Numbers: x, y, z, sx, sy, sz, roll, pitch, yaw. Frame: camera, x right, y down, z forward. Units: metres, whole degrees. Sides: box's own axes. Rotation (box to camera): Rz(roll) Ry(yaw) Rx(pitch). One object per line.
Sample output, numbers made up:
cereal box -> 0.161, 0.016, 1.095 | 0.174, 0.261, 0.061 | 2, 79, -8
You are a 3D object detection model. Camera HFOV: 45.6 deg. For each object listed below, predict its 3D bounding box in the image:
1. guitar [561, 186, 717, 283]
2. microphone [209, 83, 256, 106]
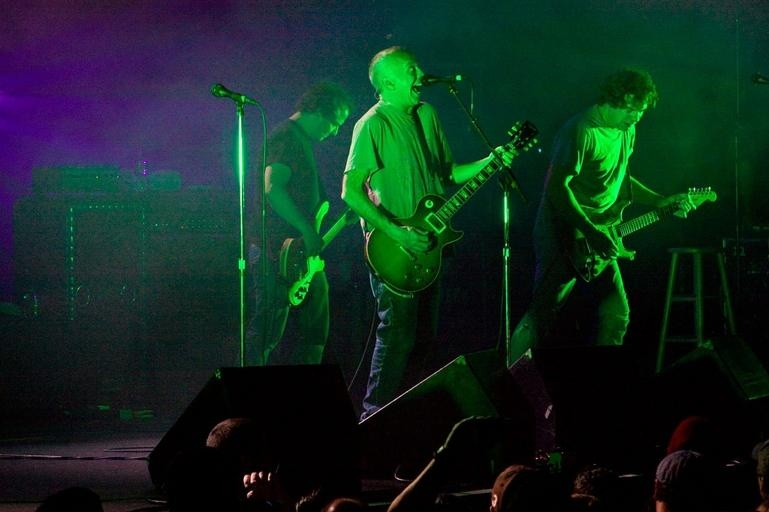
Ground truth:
guitar -> 1.820, -0.171, 6.964 | 1.334, 0.499, 0.150 | -24, 7, -3
microphone -> -1.029, -1.120, 6.294 | 0.258, 0.196, 0.617 | -2, 2, -6
